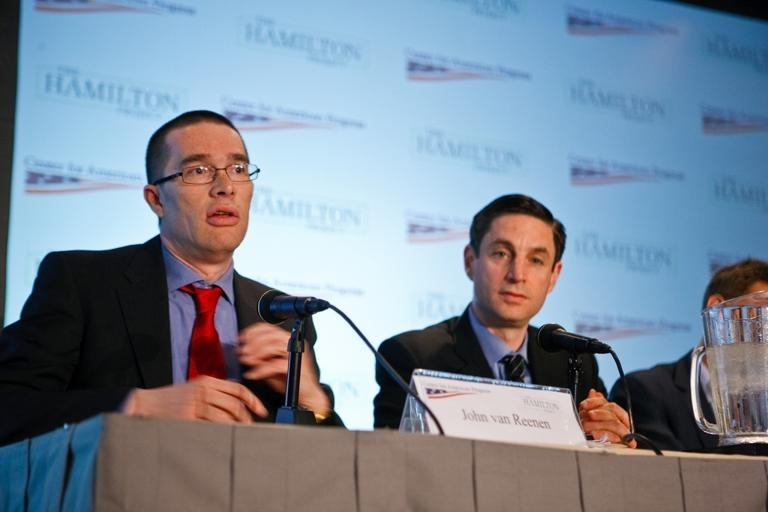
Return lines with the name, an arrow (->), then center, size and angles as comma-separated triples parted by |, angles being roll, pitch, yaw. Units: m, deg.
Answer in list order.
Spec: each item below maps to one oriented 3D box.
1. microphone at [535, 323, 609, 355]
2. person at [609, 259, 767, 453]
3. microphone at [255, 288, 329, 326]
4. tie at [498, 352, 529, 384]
microphone -> 0.673, 0.297, 3.601 | 0.101, 0.095, 0.289 | 2, 3, -37
person -> 1.235, 0.428, 4.093 | 0.784, 0.812, 0.510 | -7, -29, 37
microphone -> -0.292, 0.177, 3.248 | 0.121, 0.124, 0.306 | -12, 10, -39
tie -> 0.547, 0.460, 4.038 | 0.092, 0.124, 0.130 | 5, -22, -9
